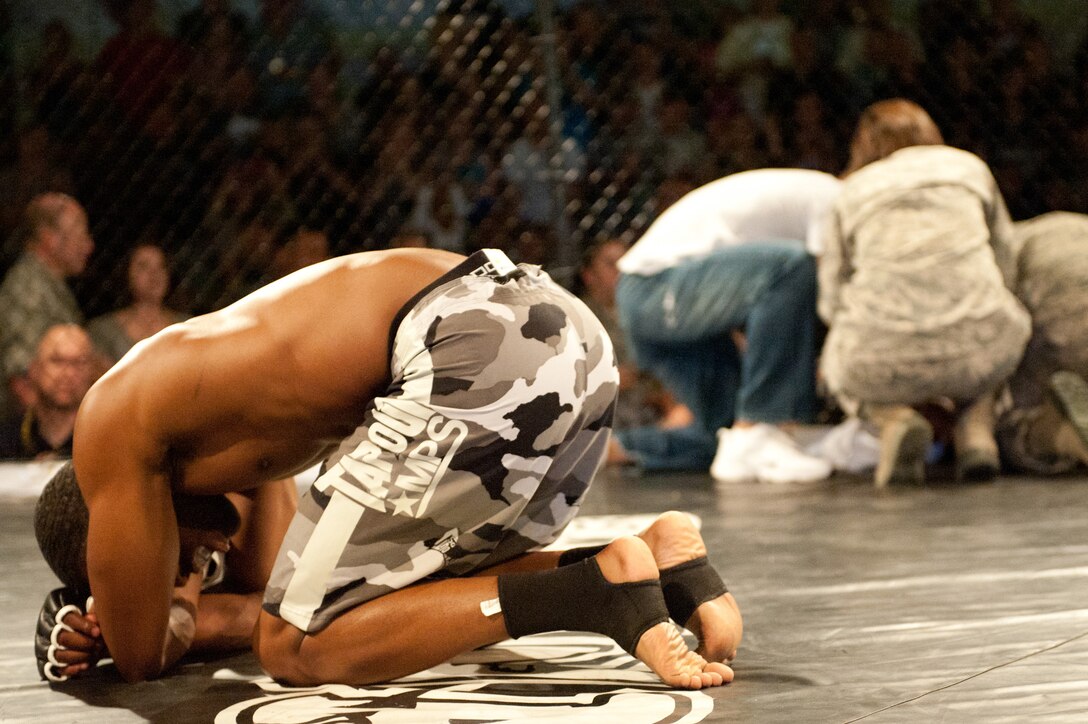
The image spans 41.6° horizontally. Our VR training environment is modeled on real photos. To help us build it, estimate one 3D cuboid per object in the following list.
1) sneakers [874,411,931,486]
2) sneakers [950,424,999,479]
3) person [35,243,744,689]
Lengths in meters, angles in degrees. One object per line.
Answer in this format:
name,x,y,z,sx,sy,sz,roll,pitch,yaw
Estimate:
sneakers,1.088,0.261,4.366,0.150,0.229,0.103,-3,4,-35
sneakers,1.313,0.275,4.346,0.150,0.111,0.186,4,44,1
person,-0.469,0.320,3.445,1.792,0.811,0.861,1,-1,21
